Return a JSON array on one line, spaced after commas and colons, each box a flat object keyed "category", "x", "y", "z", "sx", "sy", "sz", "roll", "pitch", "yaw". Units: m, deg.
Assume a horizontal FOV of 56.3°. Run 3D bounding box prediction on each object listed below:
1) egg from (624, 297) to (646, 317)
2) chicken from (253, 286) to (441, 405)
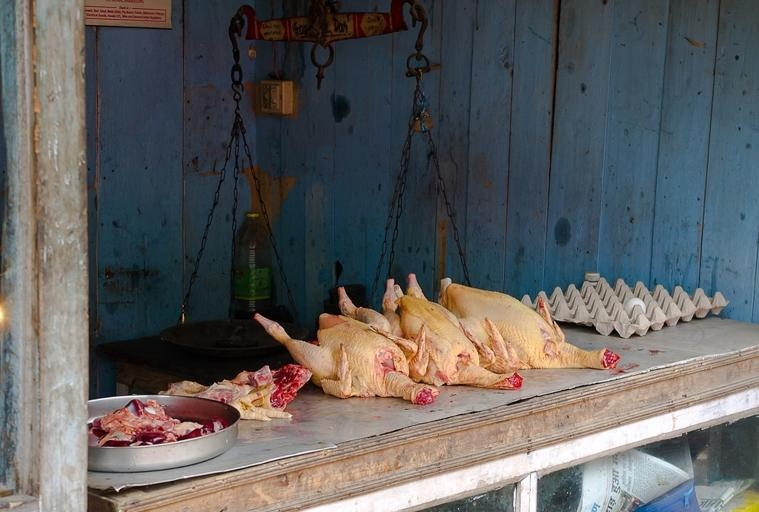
[{"category": "egg", "x": 0.829, "y": 0.169, "z": 2.318, "sx": 0.058, "sy": 0.073, "sz": 0.061, "roll": -7, "pitch": -6, "yaw": 10}, {"category": "chicken", "x": -0.071, "y": 0.252, "z": 1.739, "sx": 0.390, "sy": 0.150, "sz": 0.217, "roll": 29, "pitch": 26, "yaw": 26}]
